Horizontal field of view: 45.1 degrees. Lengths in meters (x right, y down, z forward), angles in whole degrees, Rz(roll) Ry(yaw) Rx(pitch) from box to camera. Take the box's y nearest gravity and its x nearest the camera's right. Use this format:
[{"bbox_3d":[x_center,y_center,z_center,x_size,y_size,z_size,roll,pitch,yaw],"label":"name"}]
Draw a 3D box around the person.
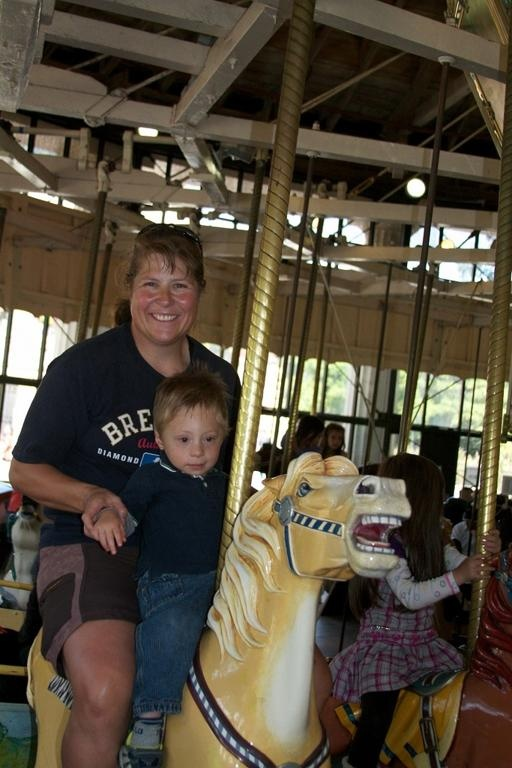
[{"bbox_3d":[-0.208,0.169,1.584,0.632,1.335,0.626,10,-3,-43],"label":"person"}]
